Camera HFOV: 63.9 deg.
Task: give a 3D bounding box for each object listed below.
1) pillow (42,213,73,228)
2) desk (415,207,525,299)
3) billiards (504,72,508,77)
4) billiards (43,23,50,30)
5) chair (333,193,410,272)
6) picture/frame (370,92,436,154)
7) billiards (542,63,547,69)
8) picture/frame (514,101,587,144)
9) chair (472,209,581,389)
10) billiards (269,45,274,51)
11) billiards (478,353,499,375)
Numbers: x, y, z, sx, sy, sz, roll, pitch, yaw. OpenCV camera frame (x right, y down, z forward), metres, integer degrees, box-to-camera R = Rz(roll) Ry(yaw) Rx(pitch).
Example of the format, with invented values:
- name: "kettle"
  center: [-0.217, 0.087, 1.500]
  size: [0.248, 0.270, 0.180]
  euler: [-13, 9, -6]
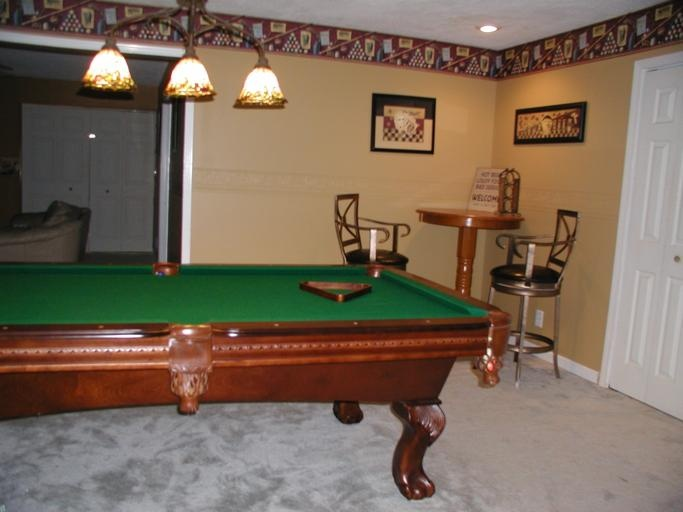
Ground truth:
- name: "pillow"
  center: [-3.129, -0.391, 5.933]
  size: [0.271, 0.082, 0.277]
  euler: [-8, 25, -10]
- name: "desk"
  center: [1.095, -0.053, 5.214]
  size: [0.868, 0.993, 0.865]
  euler: [1, 9, -1]
- name: "billiards"
  center: [1.689, -1.859, 5.621]
  size: [0.050, 0.046, 0.043]
  euler: [-7, 16, -17]
- name: "billiards"
  center: [-2.571, -1.989, 4.756]
  size: [0.055, 0.052, 0.056]
  euler: [1, 7, -8]
- name: "chair"
  center: [0.272, -0.268, 5.175]
  size: [0.653, 0.598, 1.273]
  euler: [2, 10, 3]
- name: "picture/frame"
  center: [0.623, -1.332, 5.563]
  size: [0.686, 0.565, 0.048]
  euler: [-1, 11, -15]
- name: "billiards"
  center: [1.903, -1.777, 5.138]
  size: [0.037, 0.066, 0.036]
  euler: [2, 0, -38]
- name: "picture/frame"
  center: [1.924, -1.206, 5.074]
  size: [0.088, 0.353, 0.867]
  euler: [-3, 11, -21]
- name: "chair"
  center: [1.583, 0.272, 4.723]
  size: [0.722, 1.527, 0.608]
  euler: [-1, 8, -25]
- name: "billiards"
  center: [-0.662, -1.955, 5.147]
  size: [0.055, 0.079, 0.043]
  euler: [-2, 8, -10]
- name: "billiards"
  center: [0.722, 0.528, 2.669]
  size: [0.092, 0.082, 0.092]
  euler: [0, 2, -13]
